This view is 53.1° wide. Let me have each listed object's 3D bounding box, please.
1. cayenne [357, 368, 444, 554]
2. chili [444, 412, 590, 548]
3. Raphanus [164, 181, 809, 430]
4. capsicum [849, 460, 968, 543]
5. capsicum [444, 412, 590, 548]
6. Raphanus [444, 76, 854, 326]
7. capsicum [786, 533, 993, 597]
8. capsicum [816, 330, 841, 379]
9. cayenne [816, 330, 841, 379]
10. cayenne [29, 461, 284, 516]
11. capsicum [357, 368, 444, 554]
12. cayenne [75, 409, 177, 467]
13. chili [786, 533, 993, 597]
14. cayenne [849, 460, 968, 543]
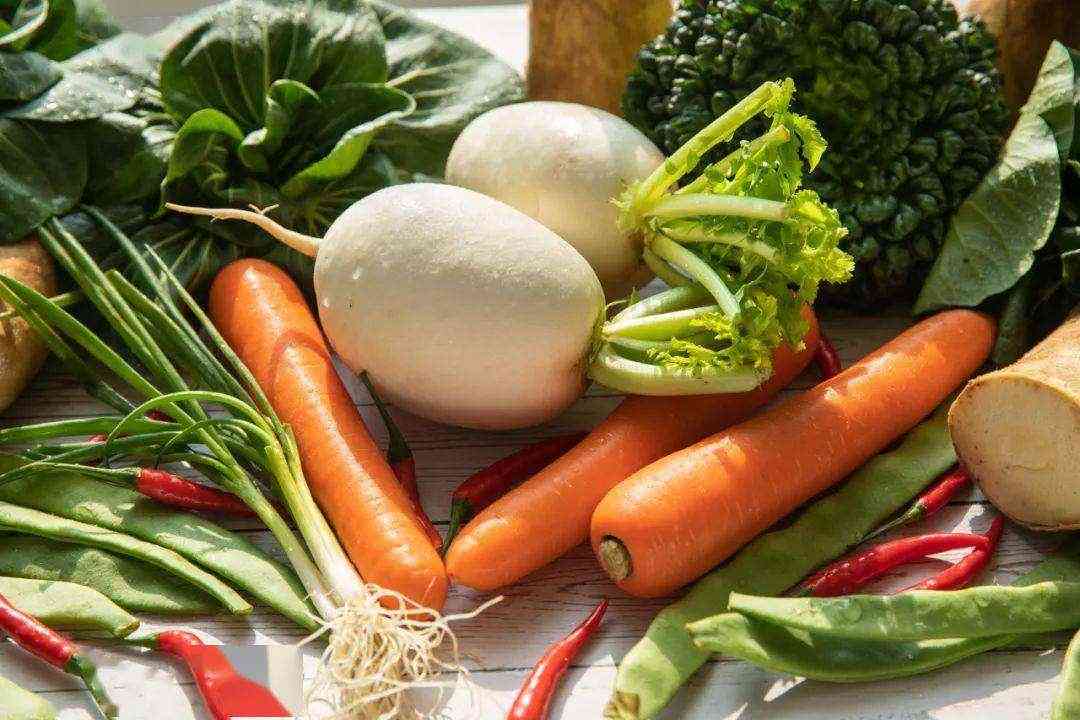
[{"bbox_3d":[-0.201,0.142,1.512,0.036,0.031,0.298,-18,58,-24],"label":"cayenne"},{"bbox_3d":[-0.018,0.164,1.581,0.079,0.057,0.305,2,23,40],"label":"chili"},{"bbox_3d":[-0.079,-0.085,1.564,0.838,0.276,0.254,14,24,7],"label":"Raphanus"},{"bbox_3d":[0.512,0.196,1.508,0.193,0.037,0.037,-26,1,-15],"label":"capsicum"},{"bbox_3d":[-0.026,0.165,1.595,0.079,0.057,0.305,2,23,40],"label":"capsicum"},{"bbox_3d":[0.184,-0.229,1.700,0.612,0.317,0.343,15,11,27],"label":"Raphanus"},{"bbox_3d":[0.478,0.264,1.432,0.301,0.036,0.096,-9,-8,-12],"label":"capsicum"},{"bbox_3d":[0.458,-0.013,1.722,0.028,0.023,0.085,-7,39,10],"label":"capsicum"},{"bbox_3d":[0.459,-0.012,1.722,0.028,0.023,0.085,-7,39,10],"label":"cayenne"},{"bbox_3d":[-0.533,0.170,1.453,0.223,0.030,0.026,12,49,-14],"label":"cayenne"},{"bbox_3d":[-0.201,0.142,1.512,0.036,0.031,0.298,-18,58,-24],"label":"capsicum"},{"bbox_3d":[-0.577,0.104,1.480,0.127,0.026,0.033,-27,47,-17],"label":"cayenne"},{"bbox_3d":[0.475,0.263,1.432,0.301,0.036,0.096,-9,-8,-12],"label":"chili"},{"bbox_3d":[0.512,0.196,1.508,0.193,0.037,0.037,-26,1,-15],"label":"cayenne"}]
